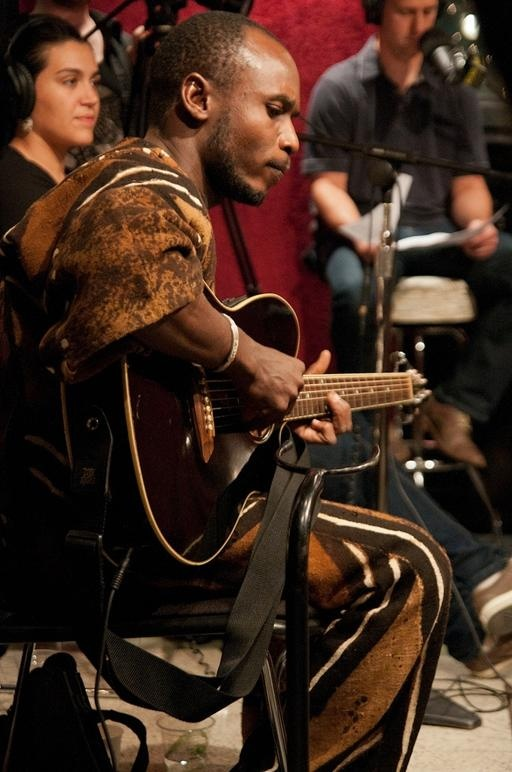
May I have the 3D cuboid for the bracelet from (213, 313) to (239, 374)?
[{"bbox_3d":[-0.037,-0.058,1.044,0.028,0.085,0.046,7,13,-2],"label":"bracelet"}]
